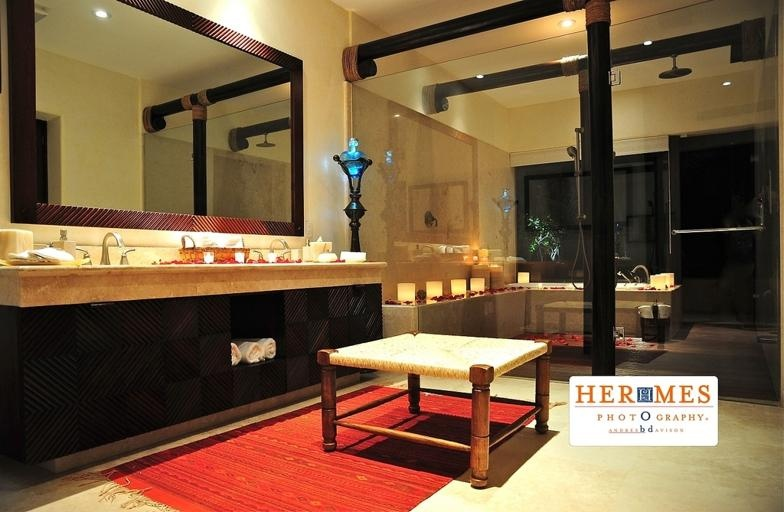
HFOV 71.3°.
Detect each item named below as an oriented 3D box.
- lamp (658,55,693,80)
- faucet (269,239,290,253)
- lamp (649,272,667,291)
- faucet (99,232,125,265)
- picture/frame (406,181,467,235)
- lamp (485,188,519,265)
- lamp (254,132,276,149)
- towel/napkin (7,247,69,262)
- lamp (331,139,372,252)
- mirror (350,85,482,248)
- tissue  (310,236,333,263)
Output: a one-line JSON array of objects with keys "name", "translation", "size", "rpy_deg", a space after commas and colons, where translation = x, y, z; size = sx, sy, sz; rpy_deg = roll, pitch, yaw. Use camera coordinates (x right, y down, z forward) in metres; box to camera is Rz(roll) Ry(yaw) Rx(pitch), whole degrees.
[{"name": "lamp", "translation": [2.197, -1.446, 4.238], "size": [0.176, 0.119, 0.180], "rpy_deg": [2, 9, 37]}, {"name": "faucet", "translation": [-0.982, -0.093, 4.740], "size": [0.166, 0.131, 0.398], "rpy_deg": [-3, 12, -11]}, {"name": "lamp", "translation": [2.099, 0.198, 4.299], "size": [0.123, 0.126, 0.121], "rpy_deg": [8, 6, 24]}, {"name": "faucet", "translation": [-1.929, -0.050, 3.743], "size": [0.165, 0.229, 0.374], "rpy_deg": [-7, 13, -26]}, {"name": "picture/frame", "translation": [0.439, -0.452, 5.142], "size": [0.535, 0.460, 0.177], "rpy_deg": [0, 1, 37]}, {"name": "lamp", "translation": [0.979, -0.284, 4.812], "size": [0.237, 0.615, 0.131], "rpy_deg": [3, 13, 18]}, {"name": "lamp", "translation": [-1.099, -0.991, 4.710], "size": [0.126, 0.126, 0.121], "rpy_deg": [-4, -4, 45]}, {"name": "towel/napkin", "translation": [-2.089, 0.000, 3.241], "size": [0.319, 0.083, 0.114], "rpy_deg": [-8, 14, -33]}, {"name": "lamp", "translation": [-0.417, -0.593, 5.358], "size": [0.381, 1.105, 0.643], "rpy_deg": [2, 12, 13]}, {"name": "mirror", "translation": [0.267, -0.841, 5.221], "size": [1.601, 1.613, 0.123], "rpy_deg": [2, 3, 34]}, {"name": "tissue ", "translation": [-0.619, -0.052, 4.735], "size": [0.222, 0.244, 0.219], "rpy_deg": [0, -4, -14]}]
